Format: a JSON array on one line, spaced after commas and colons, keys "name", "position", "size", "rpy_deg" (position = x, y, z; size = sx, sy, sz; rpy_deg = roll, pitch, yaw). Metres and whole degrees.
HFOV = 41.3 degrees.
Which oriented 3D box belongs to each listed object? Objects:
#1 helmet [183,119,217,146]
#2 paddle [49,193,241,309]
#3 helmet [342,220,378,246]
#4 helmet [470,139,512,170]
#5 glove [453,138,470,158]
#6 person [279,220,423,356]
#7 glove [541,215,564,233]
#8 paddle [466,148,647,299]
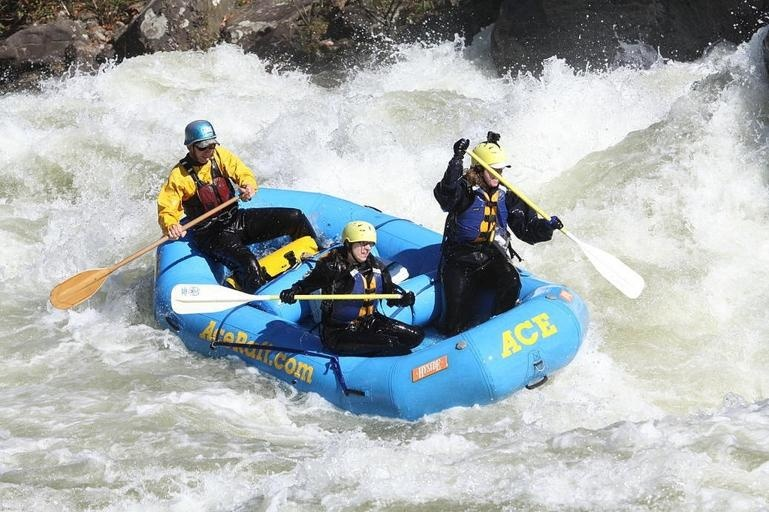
[{"name": "helmet", "position": [-2.220, -1.519, 12.452], "size": [0.272, 0.185, 0.365], "rpy_deg": [11, 32, 38]}, {"name": "paddle", "position": [-3.032, -0.013, 13.058], "size": [2.644, 0.104, 0.365], "rpy_deg": [-33, 87, -7]}, {"name": "helmet", "position": [-0.269, -0.274, 11.650], "size": [0.319, 0.241, 0.241], "rpy_deg": [-16, -8, 26]}, {"name": "helmet", "position": [1.292, -1.143, 12.127], "size": [0.421, 0.212, 0.282], "rpy_deg": [30, 46, 14]}, {"name": "glove", "position": [0.886, -1.306, 11.969], "size": [0.219, 0.273, 0.084], "rpy_deg": [3, 15, -11]}, {"name": "person", "position": [-0.343, 0.378, 11.764], "size": [1.737, 1.495, 1.023], "rpy_deg": [0, 10, -11]}, {"name": "glove", "position": [2.006, -0.409, 12.082], "size": [0.201, 0.201, 0.092], "rpy_deg": [43, 57, 7]}, {"name": "paddle", "position": [2.249, -0.356, 13.078], "size": [3.104, 0.254, 0.349], "rpy_deg": [38, 71, -9]}]
